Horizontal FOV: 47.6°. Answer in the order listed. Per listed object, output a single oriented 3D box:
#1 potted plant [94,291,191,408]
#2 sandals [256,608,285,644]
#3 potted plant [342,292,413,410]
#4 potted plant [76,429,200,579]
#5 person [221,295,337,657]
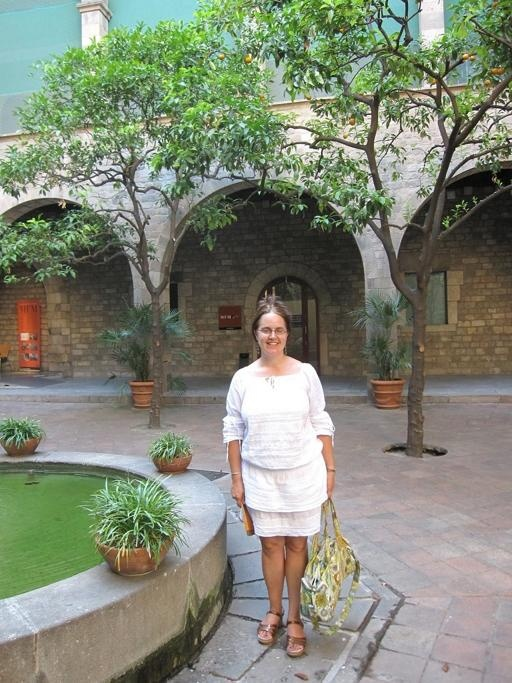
[{"bbox_3d":[-1.734,0.142,9.007,1.593,1.649,1.602,7,8,38],"label":"potted plant"},{"bbox_3d":[0.042,1.068,2.150,0.052,0.058,0.150,0,-8,8],"label":"sandals"},{"bbox_3d":[1.862,0.146,8.462,1.119,1.683,1.063,-5,-3,33],"label":"potted plant"},{"bbox_3d":[-0.455,0.675,2.326,0.398,0.273,0.682,2,8,5],"label":"potted plant"},{"bbox_3d":[0.080,0.476,2.222,0.421,0.840,0.393,5,2,14],"label":"person"}]
